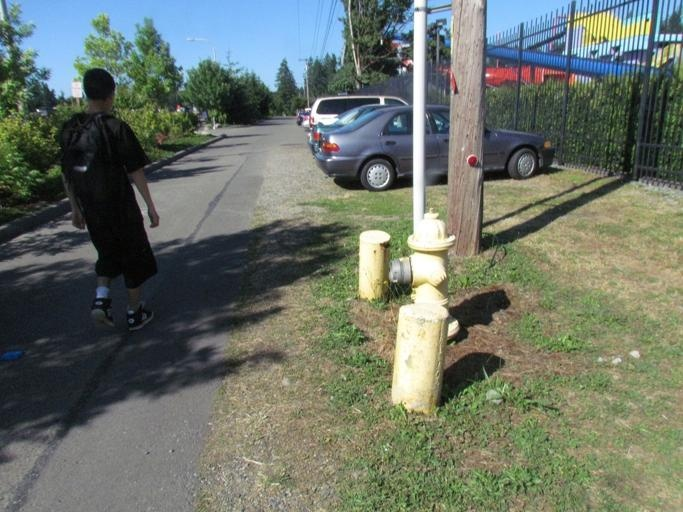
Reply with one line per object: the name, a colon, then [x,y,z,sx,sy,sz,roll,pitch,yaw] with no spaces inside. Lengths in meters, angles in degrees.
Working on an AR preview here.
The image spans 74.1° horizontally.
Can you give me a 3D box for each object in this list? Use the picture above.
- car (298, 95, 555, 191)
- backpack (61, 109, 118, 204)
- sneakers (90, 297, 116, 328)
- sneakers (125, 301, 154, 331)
car: [1.799,-2.377,10.104,4.828,1.746,0.843,-5,21,6]
backpack: [-2.478,-0.953,4.417,0.554,0.785,0.342,-1,21,14]
sneakers: [-2.290,0.534,4.333,0.136,0.238,0.315,1,-2,8]
sneakers: [-2.183,0.654,5.005,0.134,0.213,0.405,2,19,9]
